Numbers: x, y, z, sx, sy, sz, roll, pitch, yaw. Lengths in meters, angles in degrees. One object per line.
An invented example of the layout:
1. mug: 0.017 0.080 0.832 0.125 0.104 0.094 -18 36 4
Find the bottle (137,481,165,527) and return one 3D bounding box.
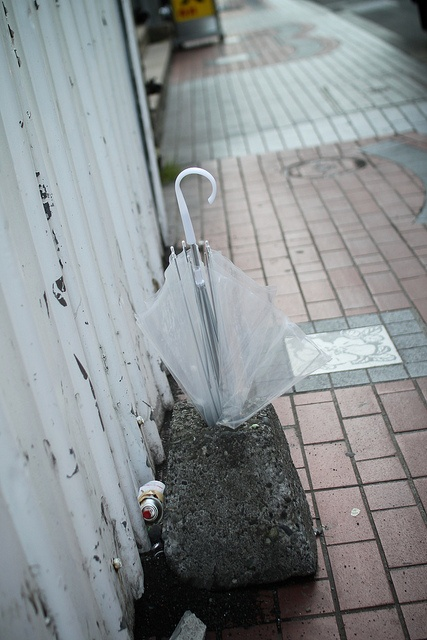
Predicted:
1. bottle: -0.262 0.754 1.959 0.099 0.068 0.198 4 54 -7

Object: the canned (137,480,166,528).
1. canned: -0.267 0.762 1.959 0.113 0.077 0.216 25 30 -13

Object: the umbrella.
1. umbrella: 0.033 -0.054 1.689 0.654 0.992 0.453 -10 32 -4
